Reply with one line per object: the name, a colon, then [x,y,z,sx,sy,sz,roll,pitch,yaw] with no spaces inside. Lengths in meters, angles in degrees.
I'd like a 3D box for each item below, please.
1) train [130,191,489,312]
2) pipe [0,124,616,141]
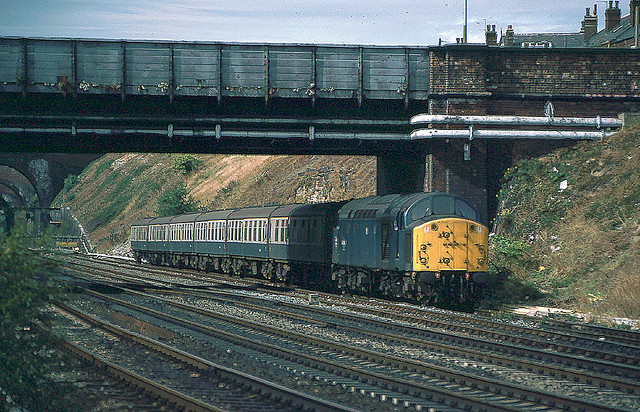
train: [-2.654,1.750,58.926,6.301,6.617,36.802,-4,5,-33]
pipe: [-0.541,-4.247,54.207,28.668,0.600,0.935,0,-8,8]
